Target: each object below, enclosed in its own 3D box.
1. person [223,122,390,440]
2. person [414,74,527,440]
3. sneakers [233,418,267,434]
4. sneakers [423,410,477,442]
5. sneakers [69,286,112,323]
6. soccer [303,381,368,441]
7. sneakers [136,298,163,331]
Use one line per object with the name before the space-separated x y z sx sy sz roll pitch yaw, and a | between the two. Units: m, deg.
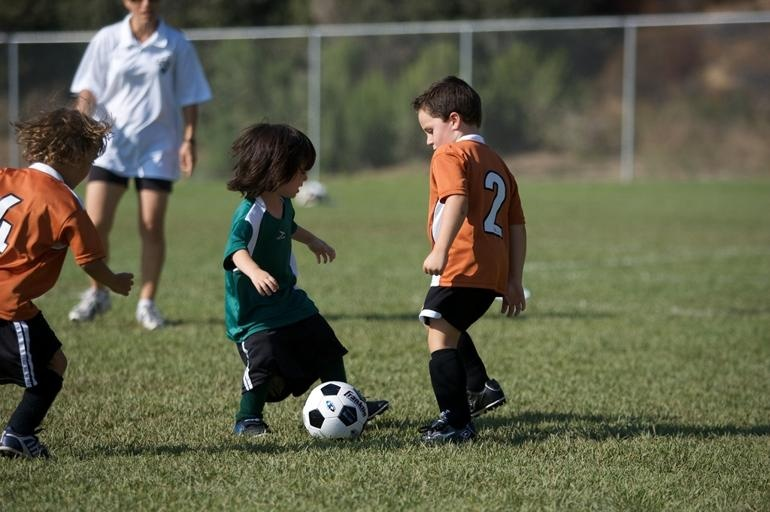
person | -0.723 0.138 8.050 0.802 2.121 0.630 -1 7 -9
person | 0.601 0.194 7.953 0.791 2.075 0.435 -1 7 -14
sneakers | -0.927 1.179 7.957 0.189 0.077 0.106 6 -1 2
sneakers | 0.420 1.184 7.940 0.468 0.209 0.158 0 -6 -8
sneakers | -2.541 0.469 9.910 0.092 0.181 0.282 0 3 44
soccer | -0.375 1.100 8.117 0.391 0.415 0.398 -20 23 -40
sneakers | -2.009 0.515 9.793 0.173 0.115 0.288 -20 54 -19
